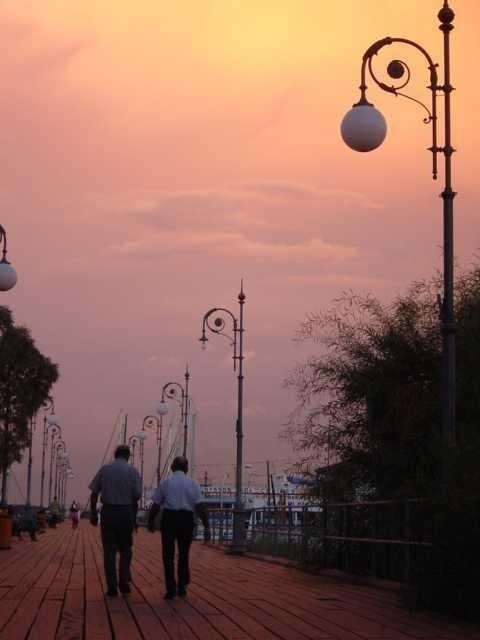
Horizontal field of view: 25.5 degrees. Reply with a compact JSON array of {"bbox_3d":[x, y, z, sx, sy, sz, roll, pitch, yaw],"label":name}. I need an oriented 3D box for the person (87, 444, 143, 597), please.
[{"bbox_3d":[-1.468,2.295,12.295,0.590,1.742,0.439,7,-15,-17],"label":"person"}]
